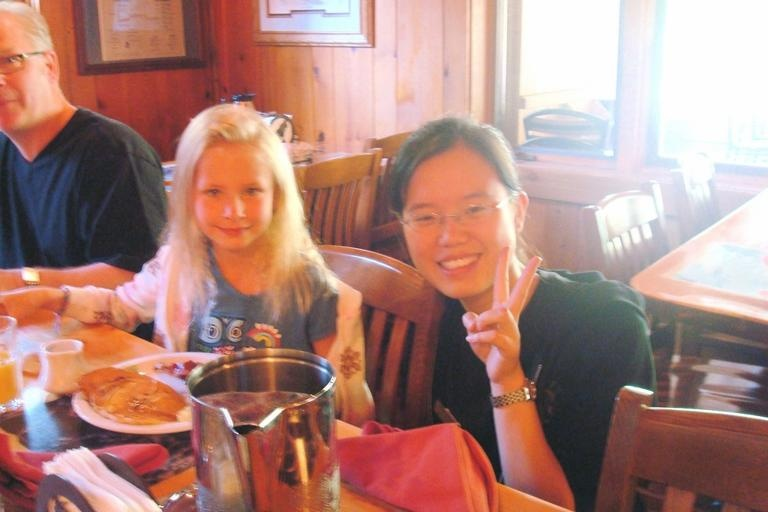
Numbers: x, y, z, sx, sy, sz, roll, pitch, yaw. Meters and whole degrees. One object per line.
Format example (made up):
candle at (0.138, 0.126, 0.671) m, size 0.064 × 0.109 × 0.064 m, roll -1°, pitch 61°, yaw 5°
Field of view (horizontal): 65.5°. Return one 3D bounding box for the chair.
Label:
chair at (0.326, 0.111, 1.298) m, size 0.538 × 0.795 × 0.427 m, roll -3°, pitch 12°, yaw -22°

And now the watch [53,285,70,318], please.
watch at (-0.772, 0.111, 1.443) m, size 0.021 × 0.058 × 0.048 m, roll 21°, pitch 14°, yaw -14°

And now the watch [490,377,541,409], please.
watch at (0.267, 0.270, 1.179) m, size 0.065 × 0.023 × 0.064 m, roll -14°, pitch 1°, yaw -5°
